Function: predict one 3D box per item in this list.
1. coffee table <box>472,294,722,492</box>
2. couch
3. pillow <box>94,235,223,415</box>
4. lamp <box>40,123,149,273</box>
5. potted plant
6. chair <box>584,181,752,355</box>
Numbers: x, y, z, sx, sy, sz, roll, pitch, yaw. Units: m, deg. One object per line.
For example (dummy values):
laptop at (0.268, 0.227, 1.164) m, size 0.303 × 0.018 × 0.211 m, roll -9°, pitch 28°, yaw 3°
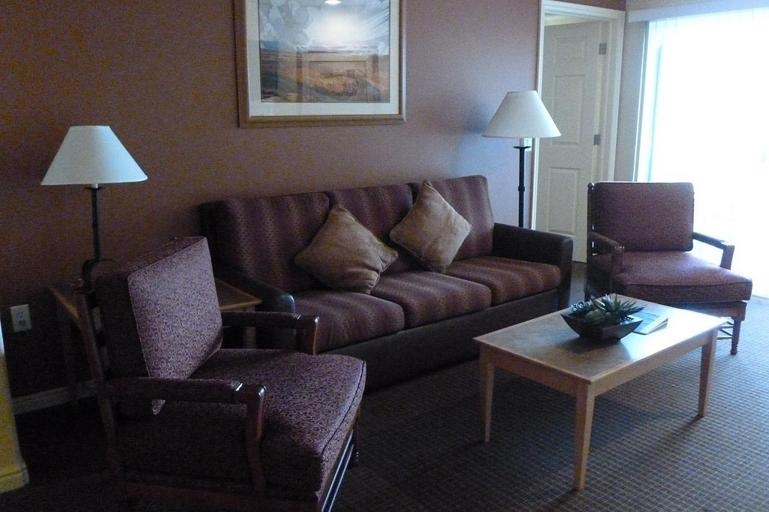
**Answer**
coffee table at (1.220, 0.656, 3.471) m, size 1.267 × 0.509 × 0.780 m, roll -13°, pitch 18°, yaw -39°
couch at (0.116, 0.124, 4.255) m, size 2.483 × 1.104 × 0.973 m, roll -10°, pitch 18°, yaw -39°
pillow at (-1.030, 0.280, 2.851) m, size 0.224 × 0.542 × 0.634 m, roll -3°, pitch 12°, yaw 11°
lamp at (-1.560, -0.346, 3.608) m, size 0.756 × 0.985 × 0.748 m, roll -3°, pitch 8°, yaw -30°
potted plant at (1.187, 0.327, 3.334) m, size 0.360 × 0.221 × 0.330 m, roll 0°, pitch 0°, yaw 20°
chair at (2.016, 0.034, 4.456) m, size 1.096 × 1.027 × 1.094 m, roll 5°, pitch 15°, yaw 21°
